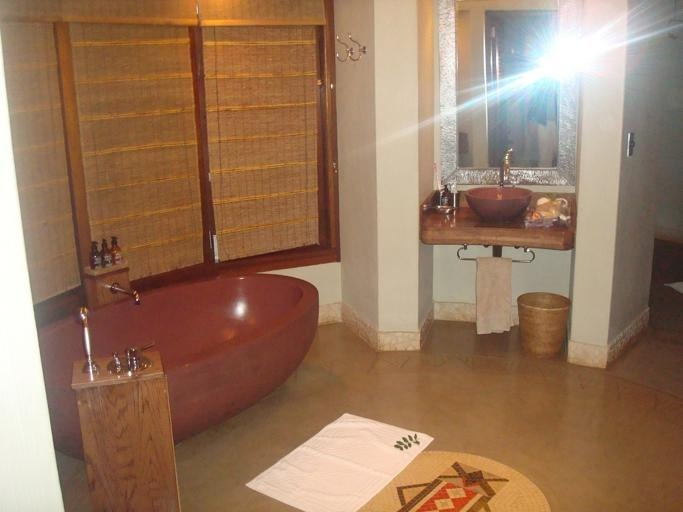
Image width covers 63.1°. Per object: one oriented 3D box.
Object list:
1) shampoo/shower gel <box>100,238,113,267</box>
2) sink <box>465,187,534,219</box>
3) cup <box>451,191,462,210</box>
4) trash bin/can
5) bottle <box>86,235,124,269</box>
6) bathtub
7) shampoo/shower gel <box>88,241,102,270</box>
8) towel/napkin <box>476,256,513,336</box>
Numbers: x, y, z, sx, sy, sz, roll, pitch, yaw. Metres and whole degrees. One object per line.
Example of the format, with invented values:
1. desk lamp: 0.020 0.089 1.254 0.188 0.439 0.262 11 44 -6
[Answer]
1. shampoo/shower gel: -1.430 -0.025 3.371 0.069 0.150 0.109 -9 17 -20
2. sink: 1.036 -0.345 3.702 0.416 0.176 0.430 1 16 13
3. cup: 0.829 -0.417 4.030 0.055 0.121 0.262 4 17 22
4. trash bin/can: 1.354 0.456 3.753 0.334 0.357 0.325 2 17 17
5. bottle: -1.449 -0.022 3.380 0.063 0.154 0.172 10 17 26
6. bathtub: -0.827 0.536 3.161 1.559 0.553 1.035 -12 19 -31
7. shampoo/shower gel: -1.483 -0.012 3.340 0.071 0.142 0.134 -9 17 -21
8. towel/napkin: 1.018 0.262 3.739 0.219 0.499 0.117 0 16 11
